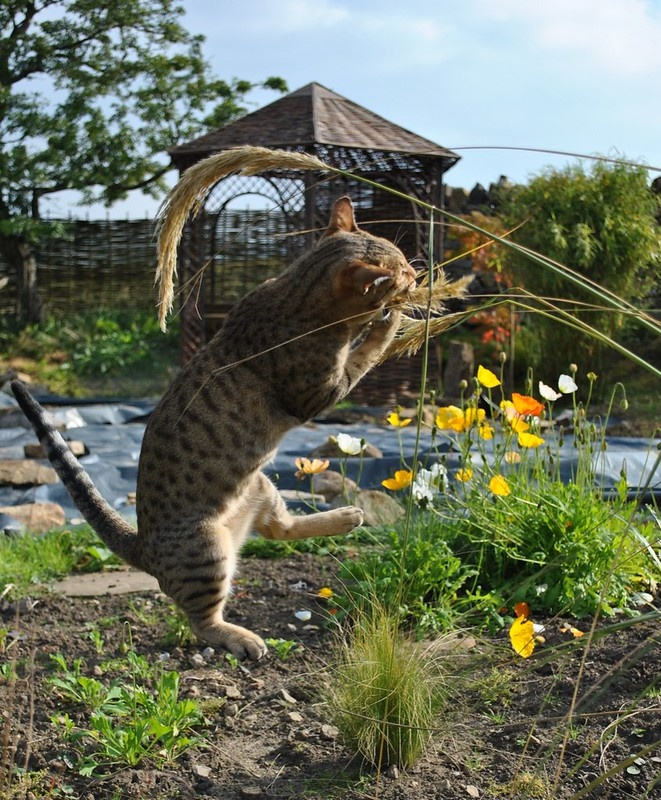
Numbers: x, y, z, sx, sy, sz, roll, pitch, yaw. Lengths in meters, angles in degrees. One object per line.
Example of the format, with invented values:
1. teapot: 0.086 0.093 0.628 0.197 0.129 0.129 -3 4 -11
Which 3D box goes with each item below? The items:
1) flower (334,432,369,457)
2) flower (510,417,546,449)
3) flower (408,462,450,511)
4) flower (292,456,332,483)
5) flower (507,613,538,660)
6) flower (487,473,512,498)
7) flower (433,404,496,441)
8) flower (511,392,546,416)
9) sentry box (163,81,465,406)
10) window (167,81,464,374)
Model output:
1. flower: 0.095 0.186 4.695 0.140 0.072 0.152 20 -9 3
2. flower: 0.846 0.144 4.592 0.135 0.179 0.313 2 7 10
3. flower: 0.382 0.393 4.464 0.137 0.226 0.156 13 48 13
4. flower: -0.121 0.302 4.805 0.226 0.080 0.181 -4 -10 10
5. flower: 0.677 0.837 3.761 0.093 0.149 0.157 -1 19 -3
6. flower: 0.716 0.350 4.423 0.042 0.093 0.112 -21 43 -25
7. flower: 0.579 0.099 4.546 0.202 0.077 0.191 19 -6 -17
8. flower: 0.815 0.034 4.368 0.129 0.047 0.111 25 -8 -19
9. sentry box: -0.251 -2.201 13.805 3.549 3.365 3.283 2 9 5
10. window: -0.303 -2.365 13.979 3.986 2.903 3.603 -10 12 -43
